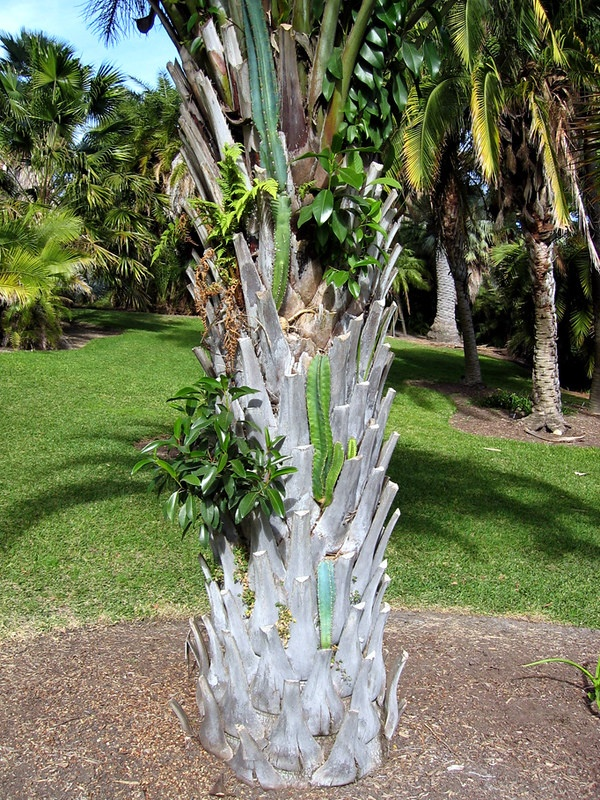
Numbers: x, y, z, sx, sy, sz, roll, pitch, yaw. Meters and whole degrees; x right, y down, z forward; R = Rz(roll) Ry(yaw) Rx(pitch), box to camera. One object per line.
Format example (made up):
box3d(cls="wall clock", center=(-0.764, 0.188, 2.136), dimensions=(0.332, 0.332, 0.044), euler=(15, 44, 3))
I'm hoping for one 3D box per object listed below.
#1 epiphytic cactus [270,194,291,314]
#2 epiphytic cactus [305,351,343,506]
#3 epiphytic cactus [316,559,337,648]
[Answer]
box3d(cls="epiphytic cactus", center=(-0.067, -0.556, 2.123), dimensions=(0.093, 0.471, 0.094), euler=(2, -19, -4))
box3d(cls="epiphytic cactus", center=(0.088, 0.125, 2.158), dimensions=(0.116, 0.471, 0.119), euler=(2, 1, 30))
box3d(cls="epiphytic cactus", center=(0.087, 0.767, 2.224), dimensions=(0.099, 0.402, 0.082), euler=(1, 13, 10))
